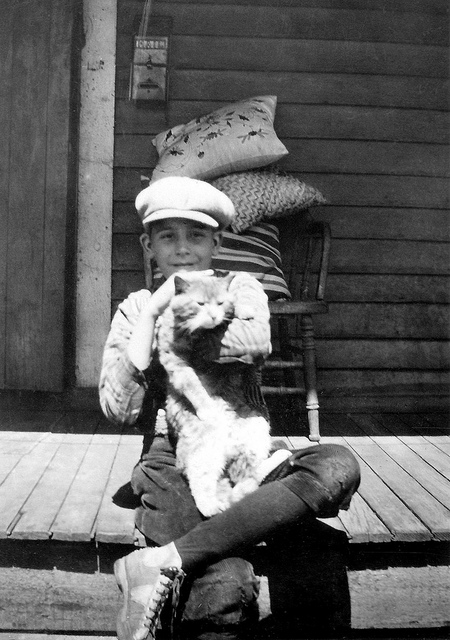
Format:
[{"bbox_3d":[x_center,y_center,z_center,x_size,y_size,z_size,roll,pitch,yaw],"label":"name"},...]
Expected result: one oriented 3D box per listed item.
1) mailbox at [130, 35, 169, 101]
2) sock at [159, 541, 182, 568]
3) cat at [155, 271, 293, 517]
[{"bbox_3d":[-0.297,-0.979,2.969,0.154,0.237,0.105,-5,15,-21],"label":"mailbox"},{"bbox_3d":[-0.109,0.467,1.505,0.039,0.041,0.015,-32,-23,21],"label":"sock"},{"bbox_3d":[-0.006,0.183,1.687,0.248,0.539,0.257,-2,-9,0],"label":"cat"}]
